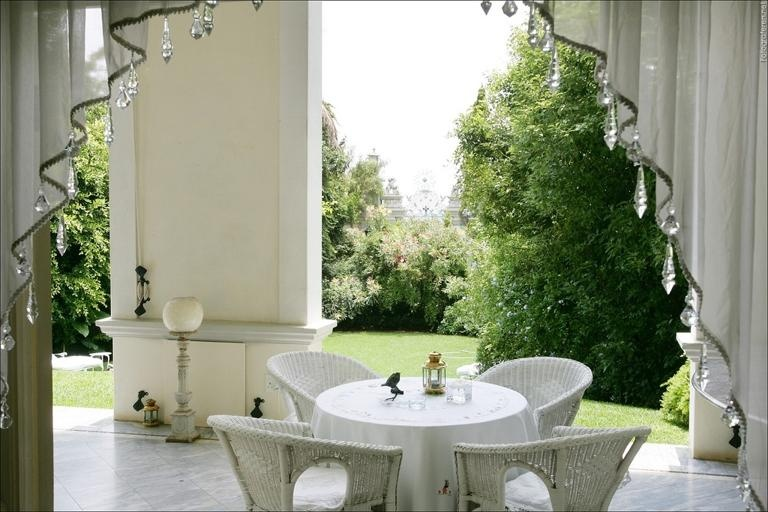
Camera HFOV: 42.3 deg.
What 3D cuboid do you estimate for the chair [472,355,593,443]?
[{"bbox_3d":[1.099,0.967,6.989,0.589,0.480,0.584,2,-3,-36],"label":"chair"}]

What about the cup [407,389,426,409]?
[{"bbox_3d":[0.216,0.942,6.545,0.085,0.087,0.118,0,-5,3],"label":"cup"}]

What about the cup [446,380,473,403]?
[{"bbox_3d":[0.506,0.884,6.604,0.139,0.116,0.143,0,1,0],"label":"cup"}]

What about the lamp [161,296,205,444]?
[{"bbox_3d":[-1.627,0.923,8.063,0.303,1.162,0.276,1,-3,-13],"label":"lamp"}]
